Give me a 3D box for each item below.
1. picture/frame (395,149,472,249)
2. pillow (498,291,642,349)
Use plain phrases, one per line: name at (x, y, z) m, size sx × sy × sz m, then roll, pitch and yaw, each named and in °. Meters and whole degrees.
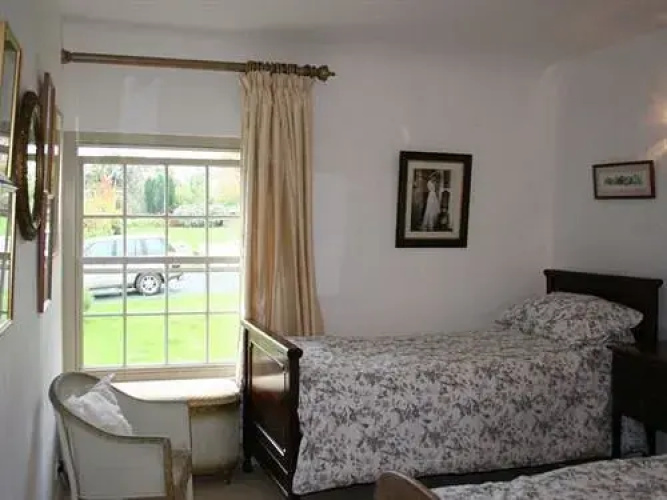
picture/frame at (0.774, -0.422, 4.160) m, size 0.693 × 0.927 × 0.068 m, roll 1°, pitch 4°, yaw -13°
pillow at (1.605, 0.478, 3.604) m, size 0.375 × 0.162 × 0.508 m, roll -14°, pitch 4°, yaw -30°
